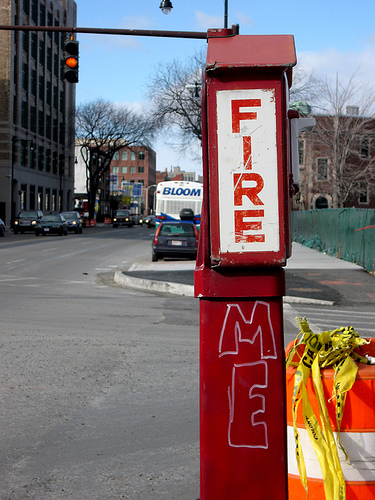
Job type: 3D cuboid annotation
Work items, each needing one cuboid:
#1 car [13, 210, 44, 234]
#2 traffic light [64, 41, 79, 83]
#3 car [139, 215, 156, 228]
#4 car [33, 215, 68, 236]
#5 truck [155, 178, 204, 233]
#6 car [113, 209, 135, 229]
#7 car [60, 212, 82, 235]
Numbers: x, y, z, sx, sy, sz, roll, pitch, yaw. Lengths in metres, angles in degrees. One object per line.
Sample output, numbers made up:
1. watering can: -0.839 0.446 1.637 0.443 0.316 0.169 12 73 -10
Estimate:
1. car: -10.584 -1.859 47.973 1.301 1.301 2.520 -1 -2 0
2. traffic light: -2.815 -4.539 17.449 0.321 0.837 0.967 -1 2 -10
3. car: -4.278 -3.264 78.183 1.469 0.944 2.781 -1 0 1
4. car: -8.020 -1.413 42.541 1.816 1.191 1.621 -1 3 -15
5. truck: -0.514 -1.906 30.631 1.566 1.802 2.789 2 6 3
6. car: -6.624 -3.118 74.035 1.299 1.412 2.616 -1 -2 0
7. car: -7.707 -1.904 48.143 0.892 0.987 1.942 0 -3 -3
